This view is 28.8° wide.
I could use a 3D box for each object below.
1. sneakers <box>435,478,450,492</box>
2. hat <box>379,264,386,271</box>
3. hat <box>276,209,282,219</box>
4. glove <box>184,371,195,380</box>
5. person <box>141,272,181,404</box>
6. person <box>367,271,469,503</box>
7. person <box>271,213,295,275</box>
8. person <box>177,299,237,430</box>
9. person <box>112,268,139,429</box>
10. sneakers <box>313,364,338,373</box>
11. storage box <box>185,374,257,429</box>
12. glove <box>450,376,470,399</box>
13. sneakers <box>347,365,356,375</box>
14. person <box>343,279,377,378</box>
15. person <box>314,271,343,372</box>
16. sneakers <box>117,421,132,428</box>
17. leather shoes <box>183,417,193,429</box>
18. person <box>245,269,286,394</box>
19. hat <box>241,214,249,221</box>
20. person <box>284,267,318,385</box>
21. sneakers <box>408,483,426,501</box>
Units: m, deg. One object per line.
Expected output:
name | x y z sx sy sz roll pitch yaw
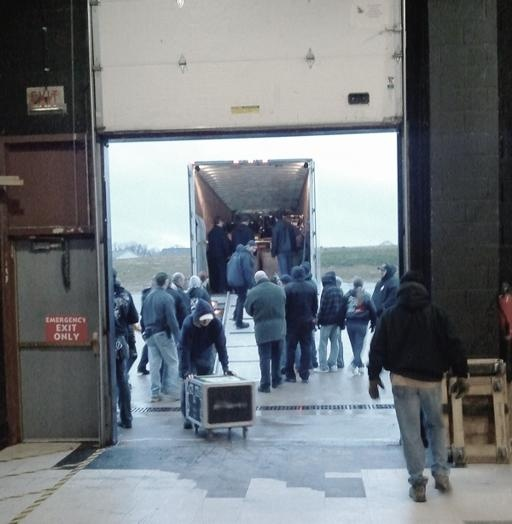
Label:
sneakers | 1.474 1.753 7.861 0.086 0.145 0.072 -4 3 -18
hat | 1.586 0.059 12.460 0.067 0.063 0.044 -9 -5 43
hat | 0.396 -0.794 16.701 0.098 0.177 0.054 -3 9 3
glove | -0.672 1.130 10.004 0.085 0.055 0.127 0 -4 -1
person | -1.067 0.849 11.278 0.491 1.454 0.384 0 5 9
person | 1.277 1.004 7.895 0.767 1.655 0.473 1 5 15
person | 0.437 -0.234 15.704 0.382 0.930 0.573 0 5 1
person | -0.509 1.087 10.467 0.399 1.656 0.591 -2 21 -1
person | -1.313 0.852 10.127 0.233 1.593 0.832 -1 5 -5
sneakers | 0.904 1.389 12.977 0.303 0.174 0.127 2 -1 1
storage box | -0.362 1.394 9.581 0.744 0.591 0.578 1 6 12
glove | 1.692 1.030 8.239 0.077 0.134 0.266 -1 -13 5
sneakers | 1.223 1.363 12.630 0.077 0.094 0.147 -3 -6 3
person | 1.290 0.754 12.495 0.375 1.307 0.349 5 23 17
person | 0.964 0.762 12.770 0.351 1.335 0.593 0 5 3
sneakers | -1.322 1.626 10.059 0.143 0.069 0.145 -1 6 -3
leather shoes | -0.675 1.592 9.882 0.085 0.137 0.097 0 -6 2
person | 0.105 0.813 11.718 0.454 1.347 0.631 0 5 9
hat | -0.190 -0.796 17.929 0.100 0.122 0.111 4 -7 -23
person | 0.550 0.752 12.160 0.427 1.388 0.417 -2 5 -11
sneakers | 1.268 1.780 7.818 0.132 0.132 0.204 0 6 9
